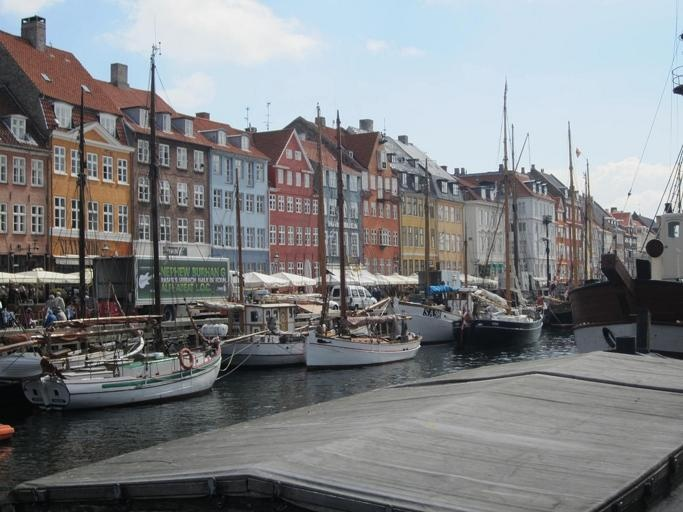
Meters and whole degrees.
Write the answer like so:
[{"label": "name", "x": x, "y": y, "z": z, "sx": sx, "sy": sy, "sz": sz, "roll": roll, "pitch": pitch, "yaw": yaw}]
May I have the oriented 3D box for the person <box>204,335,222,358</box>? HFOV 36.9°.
[{"label": "person", "x": -4.906, "y": 3.483, "z": 39.077, "sx": 0.464, "sy": 0.536, "sz": 0.829, "roll": 1, "pitch": -8, "yaw": -4}]
